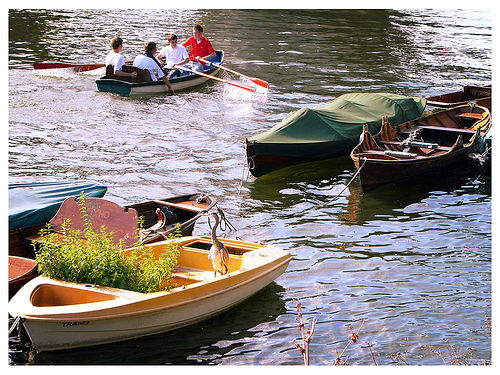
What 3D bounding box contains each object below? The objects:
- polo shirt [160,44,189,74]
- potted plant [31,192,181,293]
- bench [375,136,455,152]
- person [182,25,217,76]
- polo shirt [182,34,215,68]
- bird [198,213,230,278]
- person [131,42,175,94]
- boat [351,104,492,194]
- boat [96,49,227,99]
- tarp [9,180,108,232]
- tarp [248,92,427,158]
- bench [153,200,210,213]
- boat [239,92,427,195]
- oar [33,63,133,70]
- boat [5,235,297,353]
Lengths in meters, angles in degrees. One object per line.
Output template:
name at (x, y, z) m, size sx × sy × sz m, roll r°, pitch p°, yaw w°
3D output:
polo shirt at (-2.820, -4.876, 27.128) m, size 1.301 × 0.838 × 0.371 m, roll 16°, pitch 33°, yaw -1°
potted plant at (-3.054, 1.374, 16.141) m, size 2.933 × 2.028 × 2.939 m, roll 14°, pitch 17°, yaw 43°
bench at (4.756, -1.260, 21.389) m, size 2.237 × 0.444 × 0.783 m, roll 1°, pitch 7°, yaw 5°
person at (-1.686, -5.093, 27.761) m, size 1.646 × 1.904 × 1.085 m, roll 3°, pitch 24°, yaw -9°
polo shirt at (-1.973, -5.112, 28.021) m, size 1.304 × 1.212 × 0.379 m, roll 18°, pitch 36°, yaw 17°
bird at (-0.718, 1.316, 15.835) m, size 0.732 × 1.453 × 1.246 m, roll -2°, pitch -6°, yaw 12°
person at (-3.401, -4.119, 25.358) m, size 1.175 × 1.571 × 1.330 m, roll 1°, pitch 8°, yaw 6°
boat at (5.367, -0.956, 22.157) m, size 5.949 × 1.173 × 2.166 m, roll -22°, pitch 40°, yaw -36°
boat at (-3.339, -4.161, 27.586) m, size 2.278 × 0.989 × 6.036 m, roll 9°, pitch 18°, yaw 23°
tarp at (-4.590, 0.413, 17.476) m, size 2.164 × 0.362 × 1.153 m, roll -11°, pitch 24°, yaw -33°
tarp at (2.837, -1.949, 22.172) m, size 5.970 × 1.000 × 1.965 m, roll -14°, pitch 21°, yaw -36°
bench at (-1.616, 0.434, 18.169) m, size 1.266 × 0.273 × 0.741 m, roll 1°, pitch 6°, yaw 9°
boat at (2.528, -1.837, 22.439) m, size 6.631 × 1.331 × 2.220 m, roll -23°, pitch 35°, yaw -32°
oar at (-6.121, -4.479, 27.445) m, size 3.596 × 0.245 × 0.352 m, roll -1°, pitch -1°, yaw -14°
boat at (-2.293, 2.189, 15.380) m, size 6.147 × 0.899 × 2.792 m, roll -9°, pitch 18°, yaw -29°
